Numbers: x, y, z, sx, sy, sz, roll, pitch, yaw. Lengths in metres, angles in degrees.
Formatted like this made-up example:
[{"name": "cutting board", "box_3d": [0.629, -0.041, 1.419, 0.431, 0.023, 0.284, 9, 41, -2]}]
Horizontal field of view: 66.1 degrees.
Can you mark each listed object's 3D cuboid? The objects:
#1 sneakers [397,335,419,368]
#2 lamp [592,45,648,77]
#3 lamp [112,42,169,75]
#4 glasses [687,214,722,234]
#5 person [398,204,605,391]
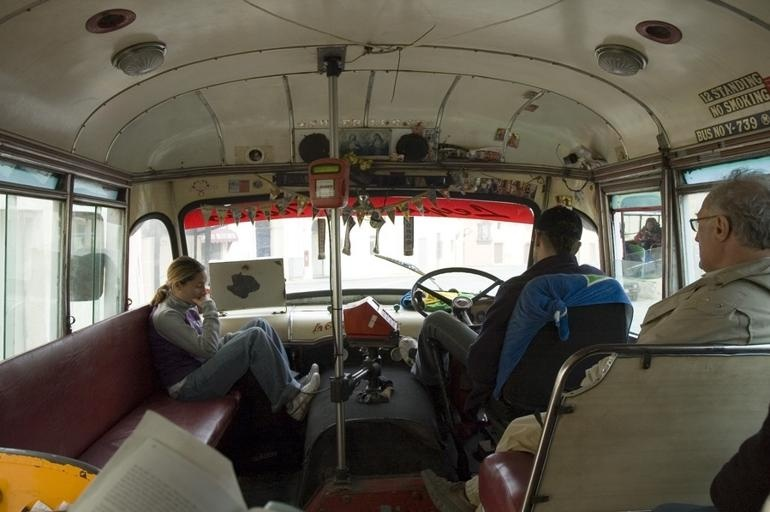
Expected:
[{"name": "sneakers", "box_3d": [0.184, 0.767, 4.824, 0.212, 0.226, 0.089, -3, 8, 2]}, {"name": "lamp", "box_3d": [1.563, -1.287, 3.869, 0.337, 0.161, 0.265, -1, -2, -32]}, {"name": "lamp", "box_3d": [-1.635, -1.293, 3.872, 0.383, 0.155, 0.239, -1, -1, -5]}, {"name": "glasses", "box_3d": [1.654, -0.174, 3.058, 0.156, 0.045, 0.154, 2, 11, 18]}, {"name": "person", "box_3d": [0.780, 0.407, 4.518, 0.914, 1.456, 1.990, 13, -8, -26]}]
